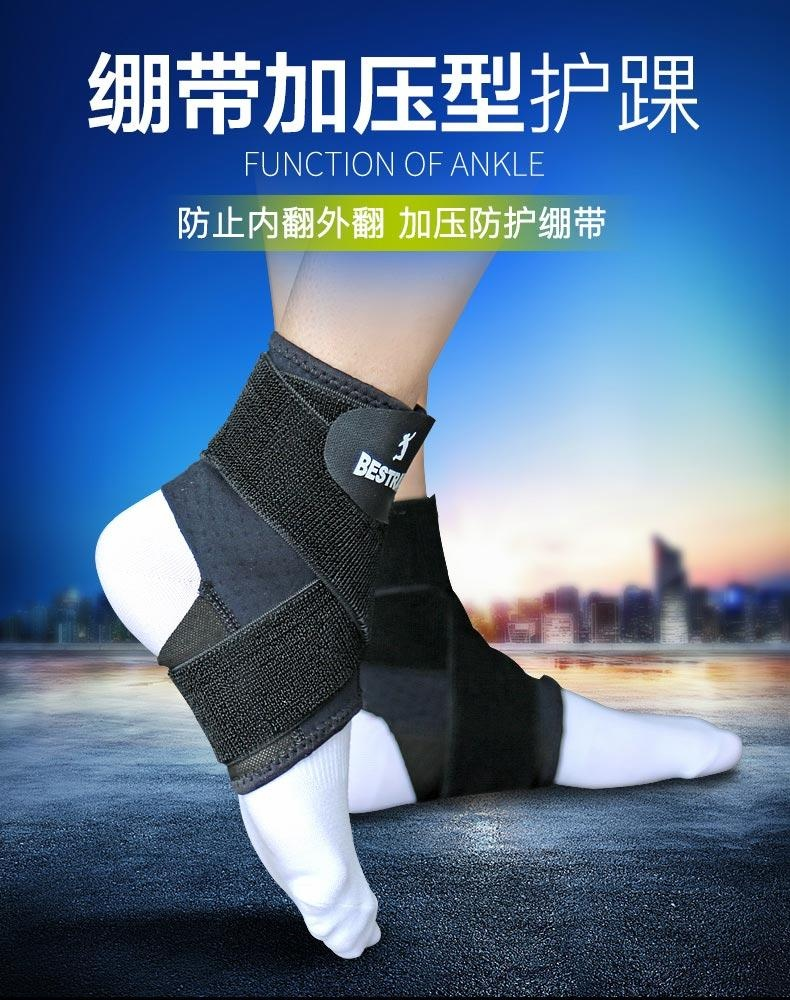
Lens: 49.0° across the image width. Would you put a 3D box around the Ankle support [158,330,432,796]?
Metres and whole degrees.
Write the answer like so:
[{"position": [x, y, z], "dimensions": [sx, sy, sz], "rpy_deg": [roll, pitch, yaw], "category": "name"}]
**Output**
[{"position": [-0.116, 0.061, 0.817], "dimensions": [0.256, 0.392, 0.228], "rpy_deg": [8, 24, 1], "category": "Ankle support"}]
